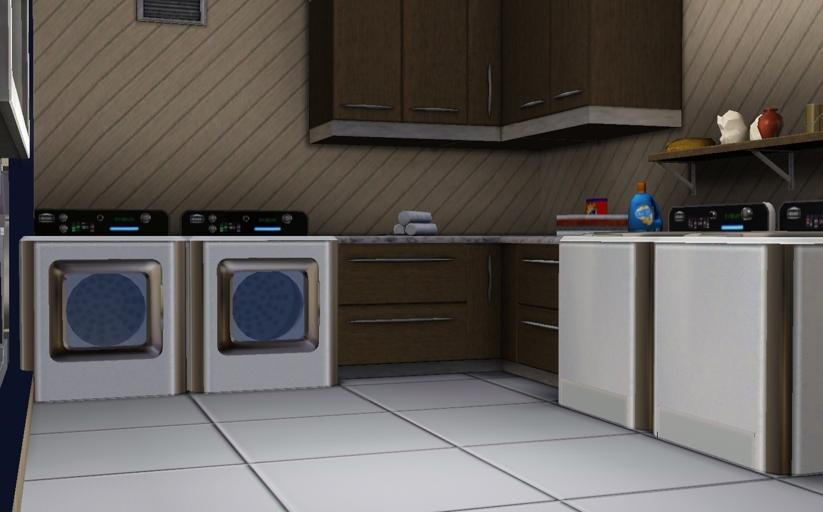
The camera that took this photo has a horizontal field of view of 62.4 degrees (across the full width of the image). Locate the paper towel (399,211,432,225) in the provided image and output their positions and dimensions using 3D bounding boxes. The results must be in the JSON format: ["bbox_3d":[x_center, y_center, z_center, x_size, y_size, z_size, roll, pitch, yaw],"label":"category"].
[{"bbox_3d":[0.005,-0.276,4.948,0.190,0.088,0.115,0,1,-32],"label":"paper towel"}]

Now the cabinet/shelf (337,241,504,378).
[{"bbox_3d":[0.159,0.370,5.040,1.248,0.844,0.696,-4,-8,22],"label":"cabinet/shelf"}]

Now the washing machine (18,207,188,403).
[{"bbox_3d":[-1.935,0.288,4.387,0.947,1.152,0.630,0,-2,-26],"label":"washing machine"}]

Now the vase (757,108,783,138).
[{"bbox_3d":[1.943,-0.724,3.710,0.113,0.169,0.094,-4,7,-35],"label":"vase"}]

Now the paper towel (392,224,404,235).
[{"bbox_3d":[-0.081,-0.193,4.977,0.068,0.077,0.027,4,11,16],"label":"paper towel"}]

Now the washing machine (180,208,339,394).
[{"bbox_3d":[-1.034,0.306,4.623,0.929,1.247,0.662,1,-1,-24],"label":"washing machine"}]
